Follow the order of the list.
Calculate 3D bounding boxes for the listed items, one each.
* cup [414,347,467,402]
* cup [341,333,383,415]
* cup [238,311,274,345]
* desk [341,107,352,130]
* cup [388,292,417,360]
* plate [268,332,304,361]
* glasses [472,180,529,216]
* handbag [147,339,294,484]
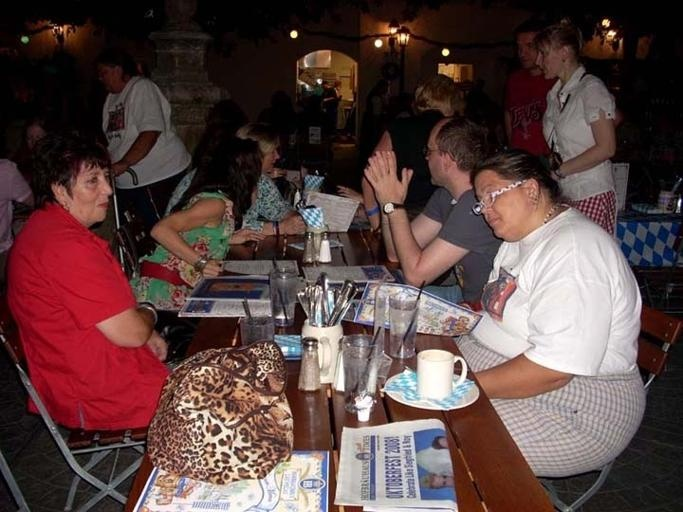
[{"bbox_3d":[0.304,0.354,1.426,0.167,0.124,0.107,5,-4,-16],"label":"cup"},{"bbox_3d":[0.059,0.339,1.356,0.126,0.202,0.127,1,-6,0],"label":"cup"},{"bbox_3d":[-0.277,0.240,1.604,0.103,0.115,0.117,2,20,0],"label":"cup"},{"bbox_3d":[0.194,-4.806,16.519,0.525,0.681,0.489,7,30,2],"label":"desk"},{"bbox_3d":[0.211,0.234,1.663,0.134,0.225,0.131,-2,14,0],"label":"cup"},{"bbox_3d":[-0.188,0.312,1.640,0.102,0.026,0.103,3,32,-11],"label":"plate"},{"bbox_3d":[0.596,-0.214,1.806,0.152,0.045,0.150,-19,-7,-24],"label":"glasses"},{"bbox_3d":[-0.278,0.345,1.107,0.333,0.250,0.252,4,29,-1],"label":"handbag"}]
